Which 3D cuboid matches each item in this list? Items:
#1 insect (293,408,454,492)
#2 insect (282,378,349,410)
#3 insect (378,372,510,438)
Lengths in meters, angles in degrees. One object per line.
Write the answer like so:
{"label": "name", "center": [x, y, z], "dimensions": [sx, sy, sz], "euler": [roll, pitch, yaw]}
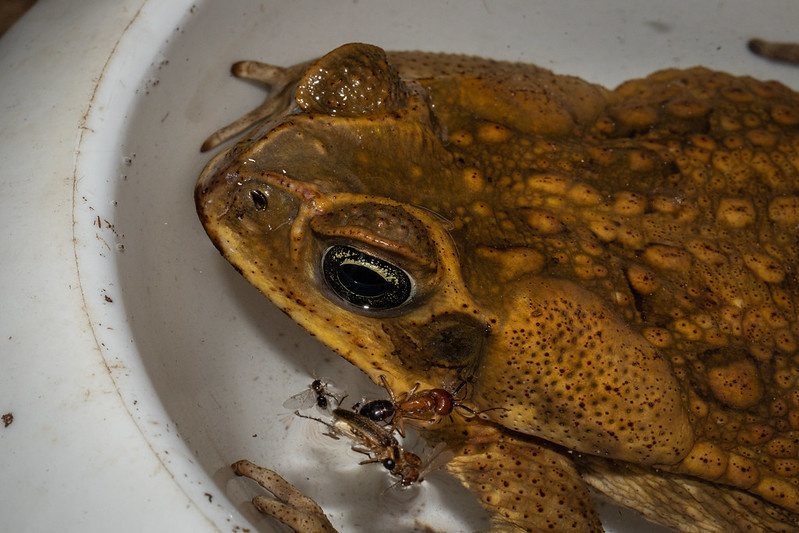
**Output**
{"label": "insect", "center": [-0.083, 0.607, 3.126], "dimensions": [0.406, 0.122, 0.285], "euler": [36, 17, -12]}
{"label": "insect", "center": [-0.282, 0.443, 3.219], "dimensions": [0.174, 0.107, 0.051], "euler": [-12, 7, -27]}
{"label": "insect", "center": [0.107, 0.450, 3.021], "dimensions": [0.390, 0.115, 0.275], "euler": [-10, 7, -2]}
